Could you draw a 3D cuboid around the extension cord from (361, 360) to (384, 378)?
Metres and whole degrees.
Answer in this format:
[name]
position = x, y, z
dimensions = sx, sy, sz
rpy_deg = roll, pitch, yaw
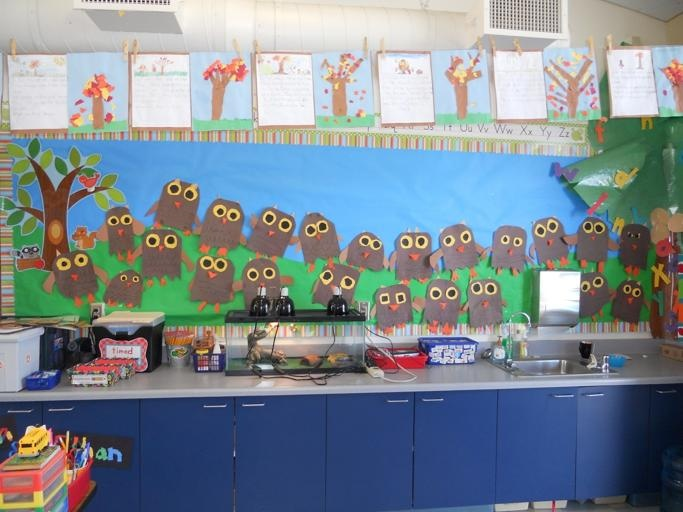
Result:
[extension cord]
position = 0.217, 0.789, 4.682
dimensions = 0.077, 0.082, 0.210
rpy_deg = -4, 19, -20

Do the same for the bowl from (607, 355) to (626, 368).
[bowl]
position = 1.946, 0.773, 5.003
dimensions = 0.090, 0.053, 0.096
rpy_deg = 1, -3, 0

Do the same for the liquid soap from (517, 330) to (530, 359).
[liquid soap]
position = 1.325, 0.666, 5.130
dimensions = 0.084, 0.171, 0.167
rpy_deg = 5, 17, 11

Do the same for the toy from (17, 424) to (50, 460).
[toy]
position = -1.500, 0.937, 3.433
dimensions = 0.098, 0.112, 0.177
rpy_deg = 0, -5, -4

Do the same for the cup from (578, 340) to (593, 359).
[cup]
position = 1.724, 0.712, 5.033
dimensions = 0.077, 0.133, 0.124
rpy_deg = 2, -2, -11
